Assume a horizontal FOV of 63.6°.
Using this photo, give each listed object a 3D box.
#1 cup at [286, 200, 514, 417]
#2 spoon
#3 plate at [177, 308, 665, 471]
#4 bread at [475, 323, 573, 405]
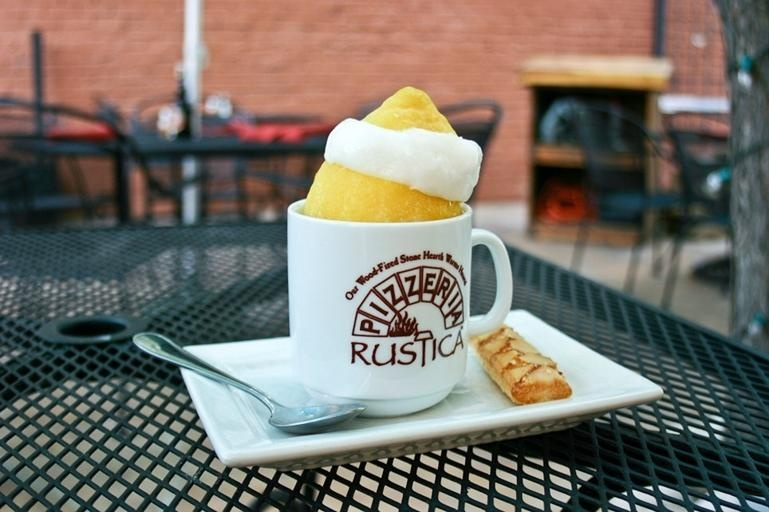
[{"bbox_3d":[0.016,0.078,0.871,0.330,0.247,0.234,-3,6,-22],"label":"cup"},{"bbox_3d":[-0.246,0.141,0.826,0.490,0.058,0.100,11,14,34],"label":"spoon"},{"bbox_3d":[0.030,0.167,0.811,0.560,0.078,0.263,-3,17,-13],"label":"plate"},{"bbox_3d":[0.180,0.135,0.831,0.080,0.034,0.153,-8,27,-9],"label":"bread"}]
